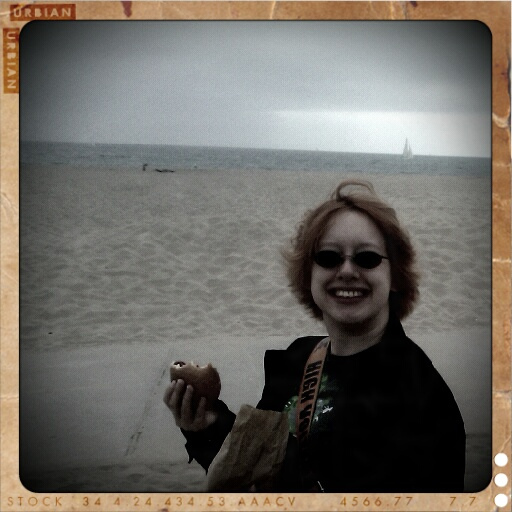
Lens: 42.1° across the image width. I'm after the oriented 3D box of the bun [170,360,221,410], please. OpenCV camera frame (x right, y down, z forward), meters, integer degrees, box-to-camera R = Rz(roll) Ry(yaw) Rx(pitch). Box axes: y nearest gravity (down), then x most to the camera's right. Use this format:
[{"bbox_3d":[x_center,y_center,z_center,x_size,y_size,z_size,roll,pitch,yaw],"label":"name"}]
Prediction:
[{"bbox_3d":[-0.404,0.851,4.352,0.322,0.306,0.170,0,6,-3],"label":"bun"}]
